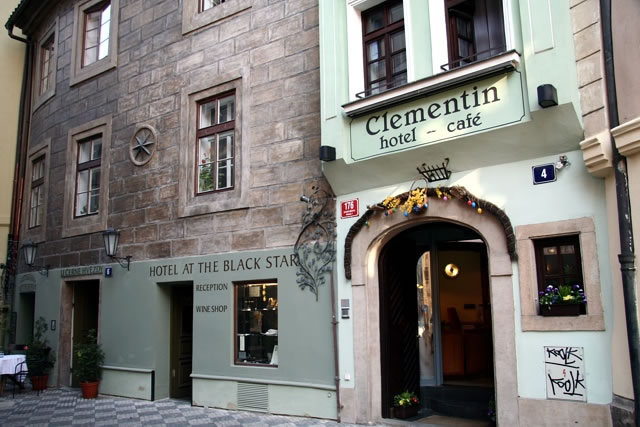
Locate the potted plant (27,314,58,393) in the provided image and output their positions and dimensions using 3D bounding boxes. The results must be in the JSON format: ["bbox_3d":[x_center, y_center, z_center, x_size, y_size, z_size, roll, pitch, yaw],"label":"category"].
[{"bbox_3d":[-7.311,3.706,15.454,0.712,1.752,0.734,-2,-6,-5],"label":"potted plant"}]

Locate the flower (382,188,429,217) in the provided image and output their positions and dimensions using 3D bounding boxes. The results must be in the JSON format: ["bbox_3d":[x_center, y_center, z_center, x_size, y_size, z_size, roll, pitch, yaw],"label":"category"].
[{"bbox_3d":[1.655,-0.209,10.936,0.489,0.220,0.632,-19,-3,31],"label":"flower"}]

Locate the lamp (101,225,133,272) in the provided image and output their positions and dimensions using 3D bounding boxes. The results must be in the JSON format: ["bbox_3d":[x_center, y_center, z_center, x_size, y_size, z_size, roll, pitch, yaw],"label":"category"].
[{"bbox_3d":[-5.067,0.857,14.448,0.718,1.096,0.627,-12,-17,37],"label":"lamp"}]

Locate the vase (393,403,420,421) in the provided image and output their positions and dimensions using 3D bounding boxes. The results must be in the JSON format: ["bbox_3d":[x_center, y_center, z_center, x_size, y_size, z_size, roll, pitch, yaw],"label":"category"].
[{"bbox_3d":[1.725,3.914,11.638,0.626,0.264,0.229,12,-19,-43],"label":"vase"}]

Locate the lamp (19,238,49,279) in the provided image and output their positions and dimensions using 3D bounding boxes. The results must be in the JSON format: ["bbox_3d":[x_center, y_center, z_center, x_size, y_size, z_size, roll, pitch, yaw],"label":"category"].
[{"bbox_3d":[-7.975,1.255,16.405,0.655,1.034,1.039,11,-19,-42],"label":"lamp"}]

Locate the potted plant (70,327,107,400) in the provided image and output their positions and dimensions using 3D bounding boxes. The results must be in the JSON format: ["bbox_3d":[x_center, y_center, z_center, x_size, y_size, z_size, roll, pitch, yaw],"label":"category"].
[{"bbox_3d":[-5.654,3.690,14.461,0.719,1.583,0.694,3,-13,-39],"label":"potted plant"}]
